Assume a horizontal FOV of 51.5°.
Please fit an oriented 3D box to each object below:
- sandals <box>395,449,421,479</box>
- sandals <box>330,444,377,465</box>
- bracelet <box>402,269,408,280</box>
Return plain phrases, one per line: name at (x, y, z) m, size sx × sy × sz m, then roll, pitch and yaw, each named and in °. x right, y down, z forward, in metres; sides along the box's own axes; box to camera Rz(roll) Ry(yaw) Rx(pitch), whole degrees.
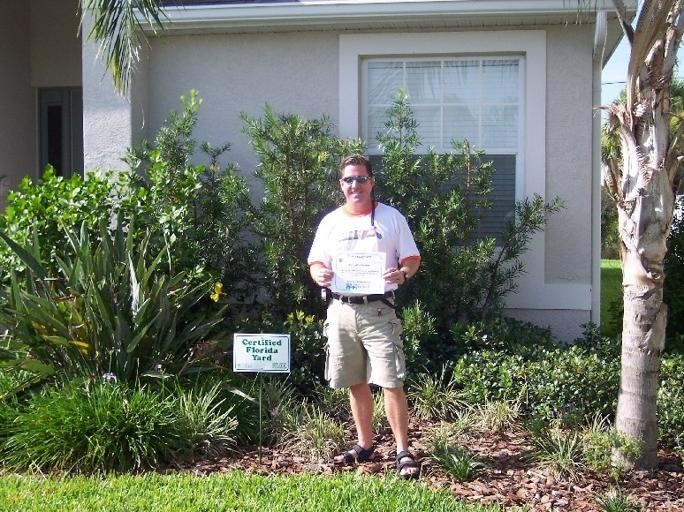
sandals at (0.536, 1.704, 5.816) m, size 0.192 × 0.212 × 0.271 m, roll -1°, pitch -1°, yaw 4°
sandals at (0.106, 1.656, 5.962) m, size 0.350 × 0.165 × 0.144 m, roll 2°, pitch -6°, yaw -21°
bracelet at (0.518, 0.157, 5.836) m, size 0.025 × 0.072 × 0.057 m, roll -4°, pitch -5°, yaw 31°
